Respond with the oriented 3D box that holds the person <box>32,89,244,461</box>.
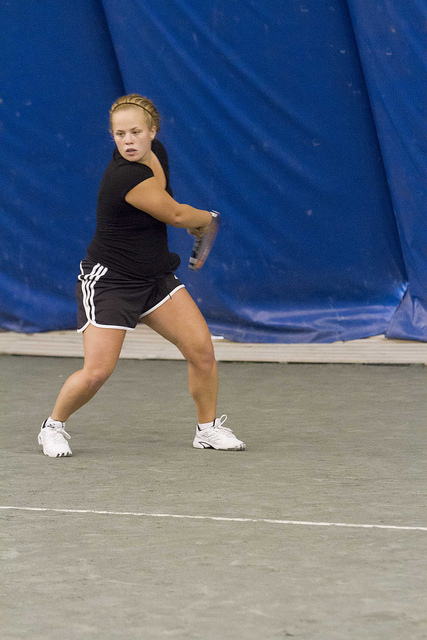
[{"bbox_3d":[-0.242,-0.119,2.926,0.729,1.485,0.503,8,18,-11],"label":"person"}]
